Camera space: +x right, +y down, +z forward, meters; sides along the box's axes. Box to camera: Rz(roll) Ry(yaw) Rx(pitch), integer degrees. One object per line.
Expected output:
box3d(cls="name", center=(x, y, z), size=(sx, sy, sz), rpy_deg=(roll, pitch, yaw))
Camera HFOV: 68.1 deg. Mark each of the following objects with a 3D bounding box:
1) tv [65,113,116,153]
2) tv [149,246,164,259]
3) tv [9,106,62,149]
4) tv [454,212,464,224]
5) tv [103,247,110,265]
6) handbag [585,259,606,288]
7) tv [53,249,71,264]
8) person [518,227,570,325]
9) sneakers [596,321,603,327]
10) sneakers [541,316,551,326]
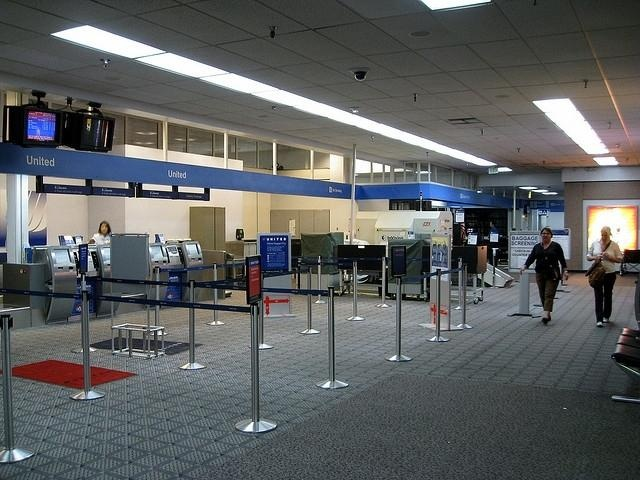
box3d(cls="tv", center=(-4.659, -2.130, 9.373), size=(0.644, 0.612, 0.794), rpy_deg=(14, 11, 12))
box3d(cls="tv", center=(-3.664, 0.256, 10.670), size=(0.327, 0.310, 0.518), rpy_deg=(-4, 4, -4))
box3d(cls="tv", center=(-5.076, -1.977, 8.360), size=(0.519, 0.695, 0.975), rpy_deg=(5, 6, 34))
box3d(cls="tv", center=(6.553, -1.036, 22.164), size=(0.868, 0.478, 0.299), rpy_deg=(-2, 1, -43))
box3d(cls="tv", center=(-4.530, 0.343, 10.016), size=(0.121, 0.352, 0.293), rpy_deg=(-2, 1, -16))
box3d(cls="handbag", center=(5.357, 0.653, 9.167), size=(0.288, 0.548, 0.301), rpy_deg=(-1, 1, 26))
box3d(cls="tv", center=(-4.952, 0.340, 9.075), size=(0.176, 0.209, 0.320), rpy_deg=(-1, 1, 18))
box3d(cls="person", center=(4.602, 0.733, 9.628), size=(0.725, 1.932, 1.162), rpy_deg=(-1, 1, 26))
box3d(cls="sneakers", center=(5.497, 1.638, 9.255), size=(0.069, 0.061, 0.177), rpy_deg=(2, 6, 30))
box3d(cls="sneakers", center=(4.578, 1.625, 9.555), size=(0.134, 0.105, 0.341), rpy_deg=(-3, -7, 20))
